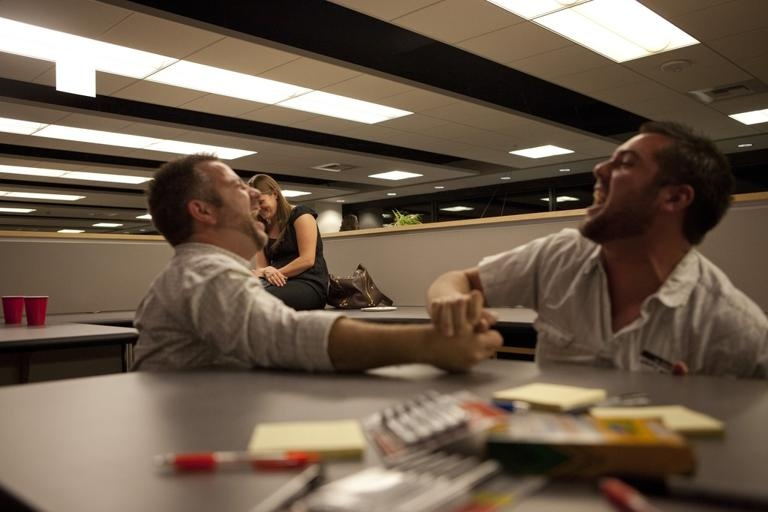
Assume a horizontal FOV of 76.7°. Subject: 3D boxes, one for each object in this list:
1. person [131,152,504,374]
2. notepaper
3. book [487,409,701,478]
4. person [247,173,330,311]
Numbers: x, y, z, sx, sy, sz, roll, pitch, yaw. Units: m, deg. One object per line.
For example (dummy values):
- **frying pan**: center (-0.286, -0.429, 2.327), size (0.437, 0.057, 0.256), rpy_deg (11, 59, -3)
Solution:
- **person**: center (-0.211, -0.012, 1.369), size (0.856, 0.544, 0.585), rpy_deg (0, -4, -4)
- **notepaper**: center (-0.118, 0.255, 0.710), size (0.170, 0.027, 0.117), rpy_deg (0, -3, -3)
- **book**: center (0.279, 0.248, 0.652), size (0.238, 0.049, 0.193), rpy_deg (2, 7, 31)
- **person**: center (-0.652, -0.033, 3.250), size (0.487, 1.060, 0.514), rpy_deg (13, 29, -2)
